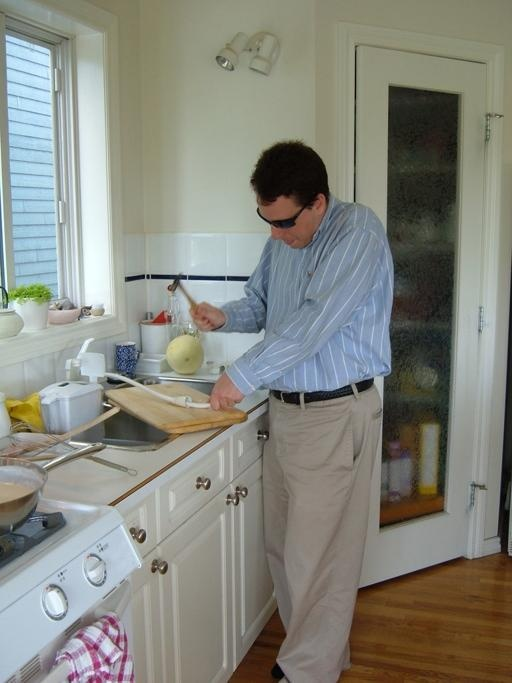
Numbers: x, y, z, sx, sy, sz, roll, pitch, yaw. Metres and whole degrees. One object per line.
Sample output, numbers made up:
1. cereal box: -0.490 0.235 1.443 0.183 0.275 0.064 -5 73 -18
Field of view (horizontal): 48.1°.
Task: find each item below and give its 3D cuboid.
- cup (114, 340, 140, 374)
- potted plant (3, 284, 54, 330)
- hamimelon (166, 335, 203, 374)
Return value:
1. cup: -0.489 0.071 2.134 0.078 0.120 0.157 -1 6 -5
2. potted plant: -0.701 -0.112 1.787 0.153 0.149 0.143 -1 18 -6
3. hamimelon: -0.268 0.056 2.150 0.097 0.113 0.098 -11 29 17
